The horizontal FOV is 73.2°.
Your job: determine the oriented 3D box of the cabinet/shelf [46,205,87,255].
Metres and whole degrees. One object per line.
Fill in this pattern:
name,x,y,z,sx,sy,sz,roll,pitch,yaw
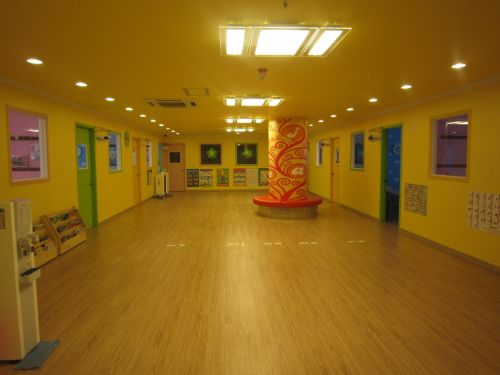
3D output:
cabinet/shelf,-3.434,0.799,6.281,0.326,0.694,0.665,8,12,12

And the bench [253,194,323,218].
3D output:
bench,1.014,0.582,9.033,1.733,0.510,0.758,2,14,9

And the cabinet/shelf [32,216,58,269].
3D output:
cabinet/shelf,-3.332,0.925,5.471,0.278,0.652,0.621,-5,11,-12
